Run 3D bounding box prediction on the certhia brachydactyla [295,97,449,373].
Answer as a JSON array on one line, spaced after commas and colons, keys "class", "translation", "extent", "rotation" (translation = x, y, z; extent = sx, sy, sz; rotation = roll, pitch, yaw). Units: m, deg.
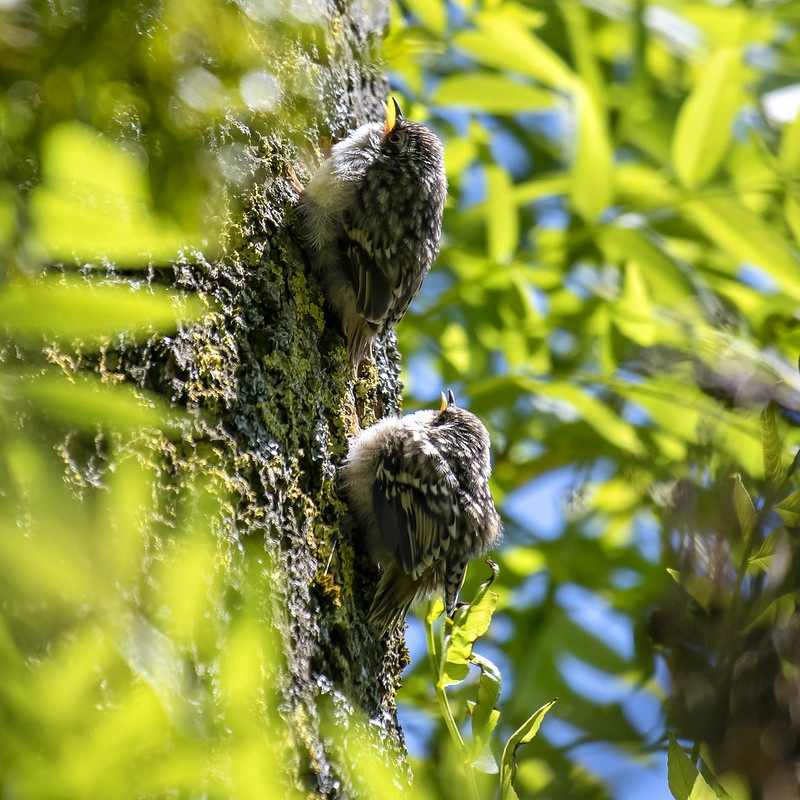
[{"class": "certhia brachydactyla", "translation": [-0.058, -0.390, 3.390], "extent": [0.267, 0.320, 0.546], "rotation": [27, 43, 4]}]
